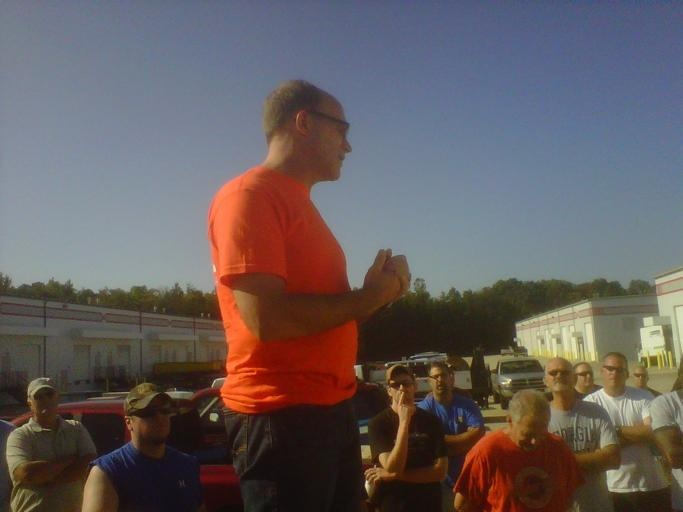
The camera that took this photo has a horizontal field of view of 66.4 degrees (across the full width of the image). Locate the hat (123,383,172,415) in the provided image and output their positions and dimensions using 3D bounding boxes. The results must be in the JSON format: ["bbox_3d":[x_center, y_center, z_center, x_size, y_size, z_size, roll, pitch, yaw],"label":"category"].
[{"bbox_3d":[-1.742,1.247,4.556,0.340,0.192,0.254,-34,-22,33],"label":"hat"}]
